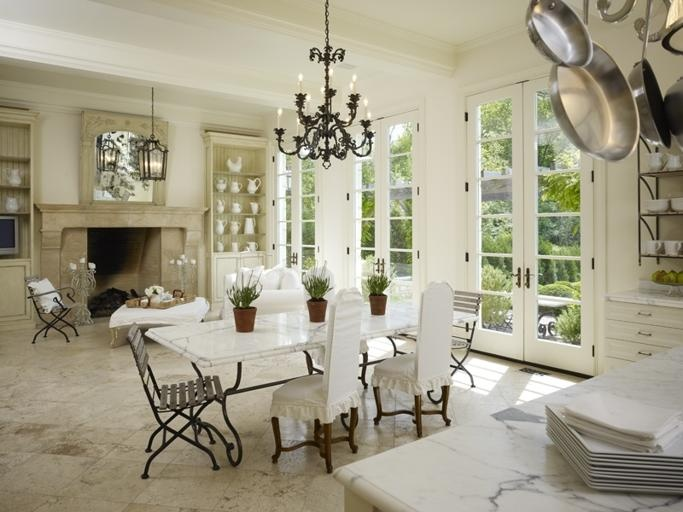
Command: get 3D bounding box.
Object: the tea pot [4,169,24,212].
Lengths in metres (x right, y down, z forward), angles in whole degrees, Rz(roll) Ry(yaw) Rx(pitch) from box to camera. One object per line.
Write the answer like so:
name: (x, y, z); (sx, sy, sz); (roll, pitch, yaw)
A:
tea pot: (-4.825, -0.965, 7.059); (0.277, 0.670, 0.392); (-5, 9, -33)

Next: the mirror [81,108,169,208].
mirror: (-3.623, -1.636, 7.885); (0.250, 1.963, 1.680); (2, 1, 41)

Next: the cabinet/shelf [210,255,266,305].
cabinet/shelf: (-1.547, 0.328, 6.865); (0.810, 0.807, 0.316); (2, -5, -31)

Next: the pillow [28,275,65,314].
pillow: (-4.099, 0.522, 6.654); (0.150, 0.532, 0.456); (-28, -13, 19)

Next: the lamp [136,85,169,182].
lamp: (-3.005, -1.918, 7.641); (0.460, 1.416, 1.517); (-3, 8, -22)

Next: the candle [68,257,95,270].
candle: (-4.130, 0.142, 7.635); (0.277, 0.183, 0.278); (-1, 2, -39)

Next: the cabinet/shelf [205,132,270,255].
cabinet/shelf: (-2.036, -1.183, 9.165); (1.206, 2.196, 0.558); (-6, 9, -35)

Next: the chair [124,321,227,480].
chair: (-1.190, 0.911, 3.832); (0.911, 1.374, 0.968); (-3, 3, -15)
